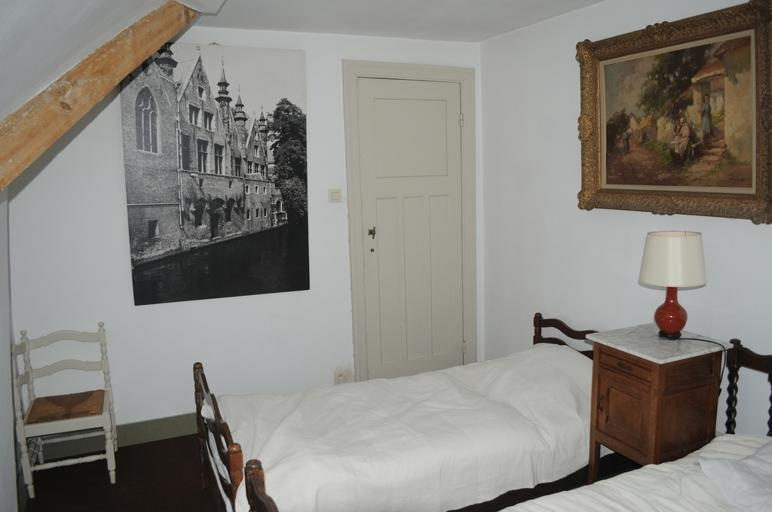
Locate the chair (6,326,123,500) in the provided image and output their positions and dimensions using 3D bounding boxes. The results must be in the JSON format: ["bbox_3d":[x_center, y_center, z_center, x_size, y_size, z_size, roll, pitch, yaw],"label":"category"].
[{"bbox_3d":[-2.452,1.131,4.225,0.678,1.208,0.698,-3,5,-25],"label":"chair"}]

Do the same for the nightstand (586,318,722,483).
[{"bbox_3d":[1.789,1.068,3.767,0.680,1.038,0.711,-1,5,-15],"label":"nightstand"}]

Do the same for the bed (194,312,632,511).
[{"bbox_3d":[0.115,1.113,3.686,2.244,0.911,1.406,-5,14,-20],"label":"bed"}]
